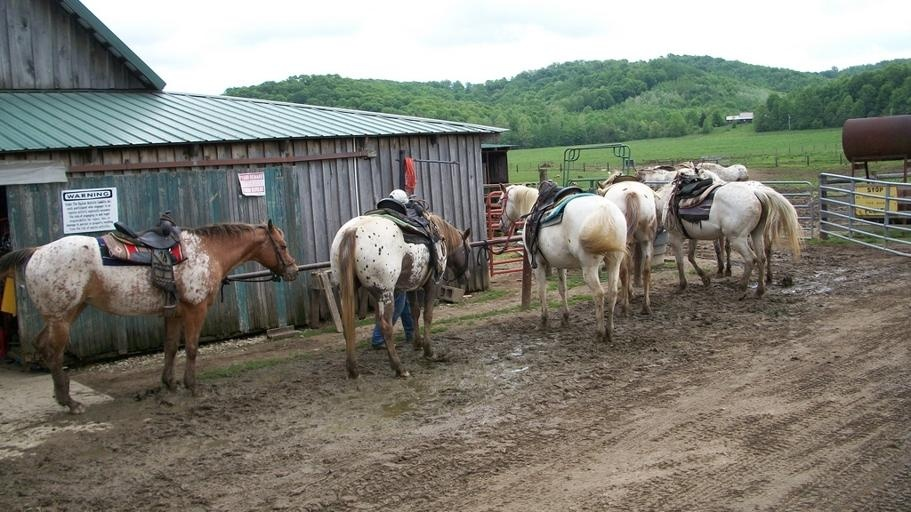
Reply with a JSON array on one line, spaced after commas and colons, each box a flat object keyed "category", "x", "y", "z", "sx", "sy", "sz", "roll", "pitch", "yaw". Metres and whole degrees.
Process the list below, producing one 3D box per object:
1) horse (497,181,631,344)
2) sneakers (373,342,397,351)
[{"category": "horse", "x": 2.313, "y": 0.015, "z": 13.532, "sx": 1.602, "sy": 3.252, "sz": 4.983, "roll": -3, "pitch": 4, "yaw": -19}, {"category": "sneakers", "x": -1.414, "y": 1.837, "z": 12.136, "sx": 0.465, "sy": 0.115, "sz": 0.258, "roll": 0, "pitch": -3, "yaw": -10}]
